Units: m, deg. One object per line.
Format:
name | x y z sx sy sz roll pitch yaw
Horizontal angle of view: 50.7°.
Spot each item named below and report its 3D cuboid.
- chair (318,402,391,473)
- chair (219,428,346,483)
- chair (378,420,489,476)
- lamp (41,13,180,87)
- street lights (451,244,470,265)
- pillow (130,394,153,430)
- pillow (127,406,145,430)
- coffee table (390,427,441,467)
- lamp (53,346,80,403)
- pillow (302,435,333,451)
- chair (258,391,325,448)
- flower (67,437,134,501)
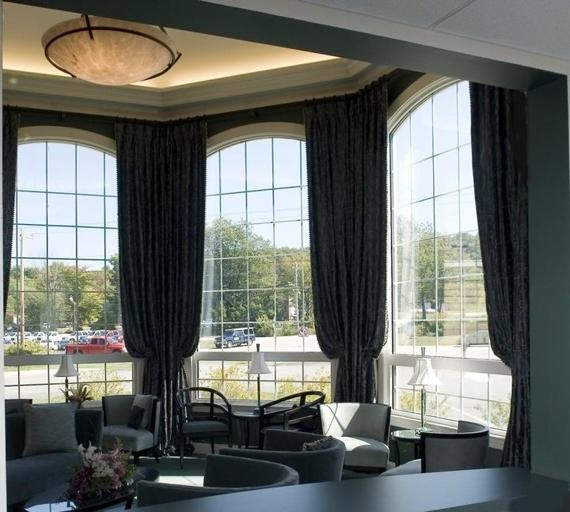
chair | 0.757 1.949 6.382 0.833 0.769 0.815 -1 -9 28
chair | 0.065 1.605 4.603 0.642 0.507 0.676 11 -19 -9
chair | 1.352 1.646 5.160 0.758 0.374 0.674 -3 -4 23
lamp | -1.667 -1.903 5.498 1.073 0.329 1.110 -1 -5 1
street lights | 1.806 -0.018 6.163 0.040 0.167 0.179 -4 -33 -9
pillow | -1.803 1.979 7.556 0.124 0.280 0.333 34 -25 -29
pillow | -1.873 2.014 7.511 0.191 0.263 0.191 -3 -4 29
coffee table | 1.277 1.903 5.817 0.282 0.335 0.321 -8 -40 5
lamp | -2.865 1.620 7.886 0.256 0.705 1.170 0 -4 -19
pillow | 0.249 1.448 4.631 0.174 0.159 0.057 1 12 -4
chair | 0.058 2.041 7.138 0.687 0.834 0.704 6 -5 13
flower | -1.574 1.834 5.209 0.481 0.354 0.396 10 -8 -43
